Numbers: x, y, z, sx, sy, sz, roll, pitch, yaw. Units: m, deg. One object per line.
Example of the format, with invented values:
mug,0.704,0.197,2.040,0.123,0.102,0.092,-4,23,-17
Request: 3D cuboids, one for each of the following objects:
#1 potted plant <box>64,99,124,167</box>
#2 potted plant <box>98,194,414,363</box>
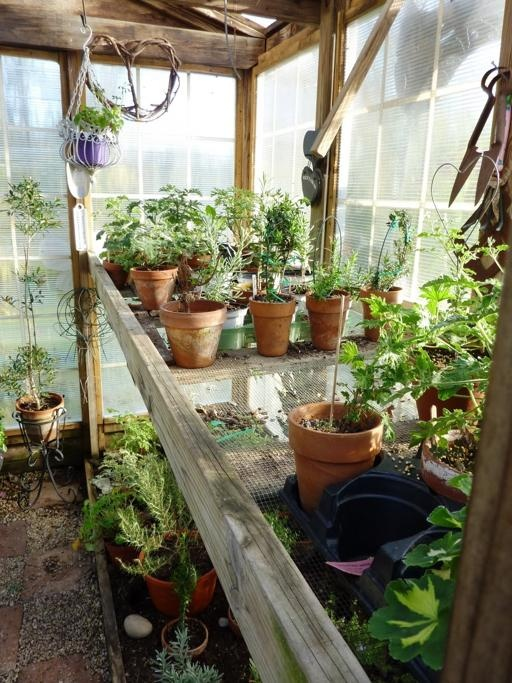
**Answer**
potted plant,-0.957,-1.186,2.808,0.391,0.380,0.346,11,20,11
potted plant,0.025,-0.296,2.161,0.915,0.381,1.155,-1,11,-11
